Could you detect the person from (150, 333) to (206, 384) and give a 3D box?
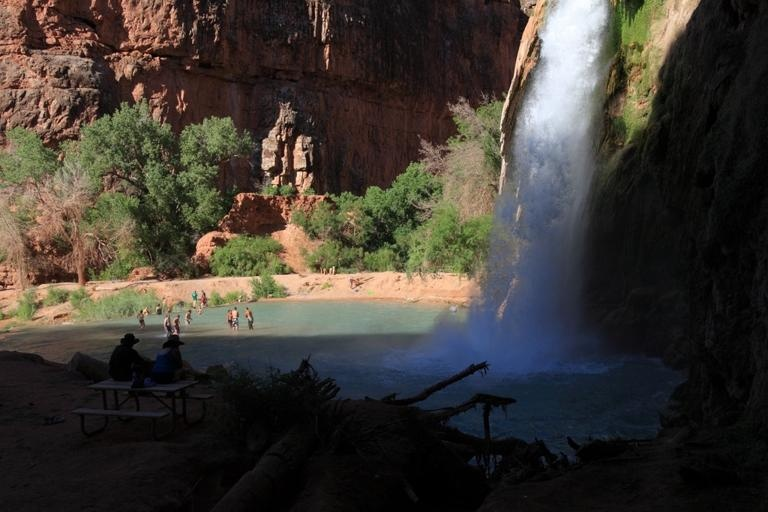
[{"bbox_3d":[-4.831,2.522,16.126,0.612,1.458,0.952,3,6,20],"label":"person"}]

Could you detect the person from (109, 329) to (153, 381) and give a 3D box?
[{"bbox_3d":[-5.733,2.258,16.083,1.273,1.068,0.820,2,4,39],"label":"person"}]

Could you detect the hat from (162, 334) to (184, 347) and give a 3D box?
[{"bbox_3d":[-4.782,1.919,16.222,0.520,0.273,0.658,-3,-12,3],"label":"hat"}]

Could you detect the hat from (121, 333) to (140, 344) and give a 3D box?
[{"bbox_3d":[-5.798,1.882,16.155,0.304,0.159,0.377,4,-6,-2],"label":"hat"}]

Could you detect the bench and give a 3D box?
[{"bbox_3d":[-5.356,3.341,15.992,2.693,1.115,2.256,0,4,11],"label":"bench"}]
